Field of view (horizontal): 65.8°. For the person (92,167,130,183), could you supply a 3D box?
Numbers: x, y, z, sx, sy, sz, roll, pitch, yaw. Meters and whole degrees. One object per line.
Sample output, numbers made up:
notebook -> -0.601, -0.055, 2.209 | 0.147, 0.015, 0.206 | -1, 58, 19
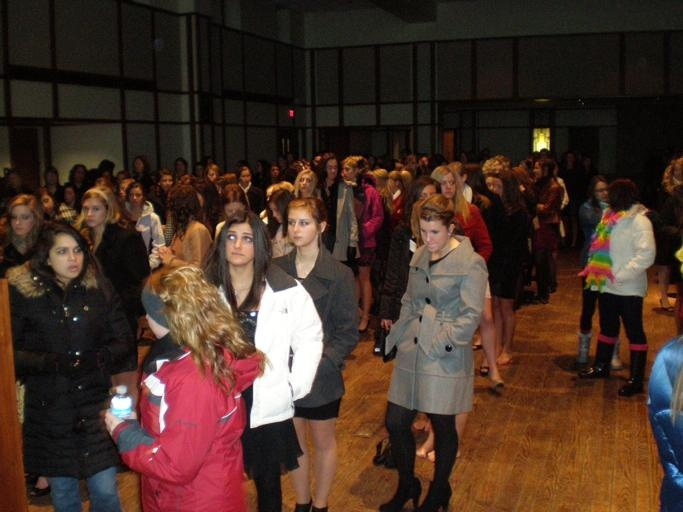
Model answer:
person -> -5.079, -1.788, 11.633 | 0.715, 0.391, 1.556 | -8, 12, -35

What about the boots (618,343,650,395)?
boots -> 3.074, 1.208, 5.555 | 0.208, 0.506, 0.454 | 6, 12, 35

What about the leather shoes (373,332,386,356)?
leather shoes -> 0.327, 0.794, 4.572 | 0.072, 0.074, 0.279 | 1, 25, 10

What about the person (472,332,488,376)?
person -> 1.716, 1.258, 6.566 | 0.170, 0.137, 0.836 | -4, 18, 11

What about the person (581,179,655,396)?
person -> 2.933, 0.326, 5.601 | 0.428, 2.227, 0.697 | -4, 10, -15

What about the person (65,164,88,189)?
person -> -5.207, -1.574, 10.479 | 0.315, 0.446, 0.813 | -6, 11, -26

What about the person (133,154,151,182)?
person -> -4.555, -1.996, 12.114 | 0.365, 0.578, 1.253 | -5, 10, -20

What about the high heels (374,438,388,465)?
high heels -> 0.340, 1.653, 4.442 | 0.086, 0.065, 0.287 | 2, 9, 9

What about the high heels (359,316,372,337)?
high heels -> 0.365, 1.068, 7.757 | 0.142, 0.194, 0.452 | 0, 4, 6

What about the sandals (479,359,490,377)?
sandals -> 1.665, 1.347, 6.165 | 0.083, 0.070, 0.272 | 2, 25, 10
